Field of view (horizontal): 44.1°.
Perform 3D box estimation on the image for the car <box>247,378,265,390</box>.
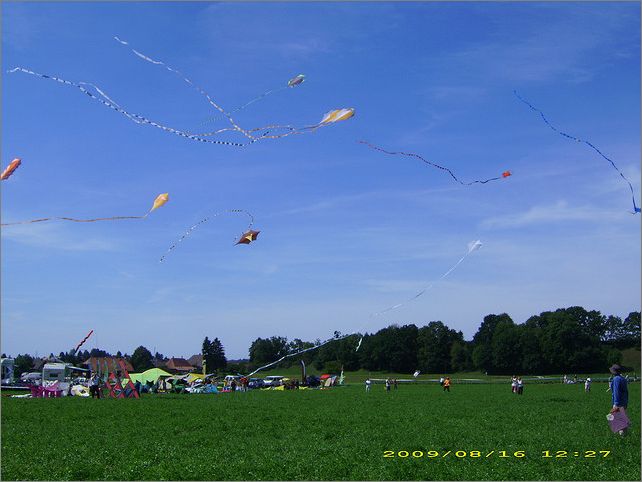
[{"bbox_3d":[-6.864,15.207,84.125,1.733,1.145,4.851,2,-15,-5],"label":"car"}]
